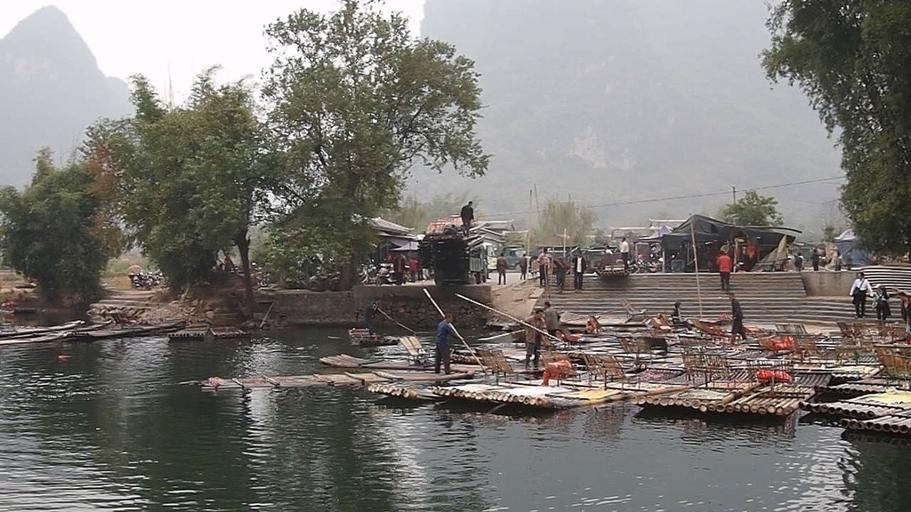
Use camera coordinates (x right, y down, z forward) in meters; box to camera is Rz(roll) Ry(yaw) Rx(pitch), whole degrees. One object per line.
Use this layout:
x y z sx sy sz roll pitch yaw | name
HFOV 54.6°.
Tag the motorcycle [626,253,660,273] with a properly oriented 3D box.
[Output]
18.297 0.689 86.815 3.055 1.467 1.925 -4 5 3 | motorcycle
